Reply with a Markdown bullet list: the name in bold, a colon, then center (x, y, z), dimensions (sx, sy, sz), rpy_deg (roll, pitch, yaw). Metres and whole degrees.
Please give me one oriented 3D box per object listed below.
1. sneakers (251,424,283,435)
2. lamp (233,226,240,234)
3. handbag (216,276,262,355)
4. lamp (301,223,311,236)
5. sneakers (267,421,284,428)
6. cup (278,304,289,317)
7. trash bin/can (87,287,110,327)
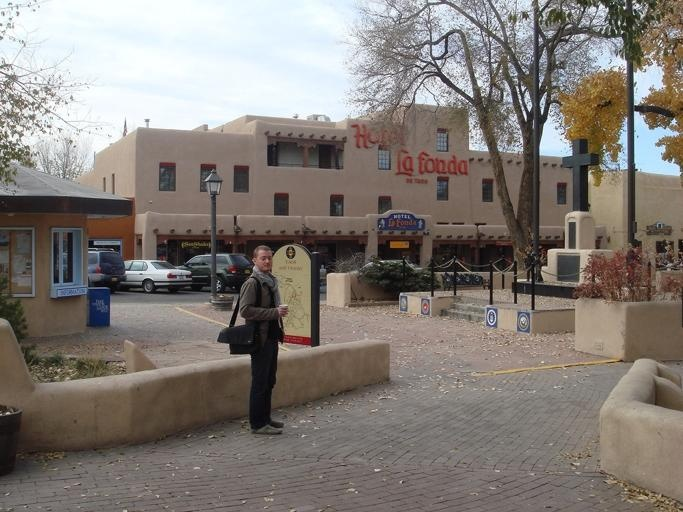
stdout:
- **sneakers**: center (-0.937, 2.129, 8.998), dimensions (0.375, 0.165, 0.140), rpy_deg (-1, 4, -6)
- **lamp**: center (-5.642, -1.377, 38.792), dimensions (0.341, 0.506, 0.357), rpy_deg (-3, 2, 3)
- **handbag**: center (-1.285, 0.858, 8.871), dimensions (0.367, 0.768, 0.500), rpy_deg (-2, 5, -36)
- **lamp**: center (-1.957, -1.498, 40.906), dimensions (0.686, 0.618, 0.320), rpy_deg (-2, 5, -34)
- **sneakers**: center (-0.832, 2.123, 9.116), dimensions (0.185, 0.080, 0.070), rpy_deg (-3, 6, -5)
- **cup**: center (-0.717, 0.678, 8.916), dimensions (0.107, 0.148, 0.237), rpy_deg (1, 4, 4)
- **trash bin/can**: center (-5.904, 1.242, 17.388), dimensions (0.532, 0.919, 0.456), rpy_deg (-1, 4, -26)
